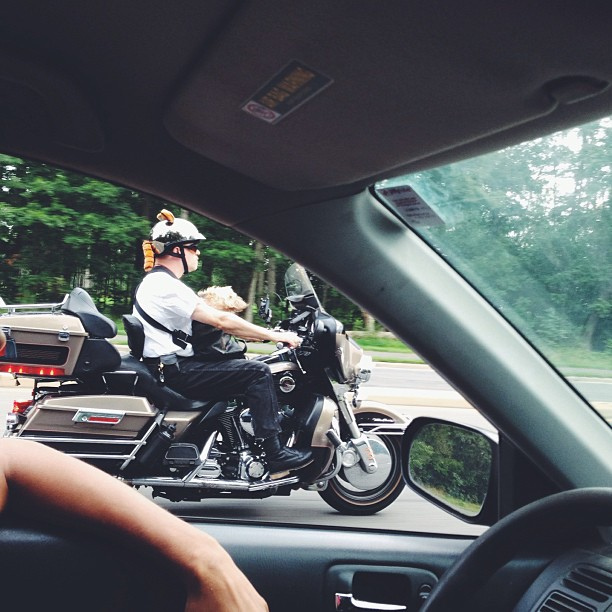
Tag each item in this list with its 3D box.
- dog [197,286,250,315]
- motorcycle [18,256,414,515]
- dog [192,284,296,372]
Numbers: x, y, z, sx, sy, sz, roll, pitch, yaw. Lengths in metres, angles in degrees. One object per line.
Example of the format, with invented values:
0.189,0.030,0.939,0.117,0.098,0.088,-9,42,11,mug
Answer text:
-0.504,-0.033,3.811,0.286,0.083,0.175,8,2,8,dog
-0.473,0.577,3.688,2.380,0.841,0.780,8,-11,-15,motorcycle
-0.487,0.119,3.590,0.816,0.311,0.399,3,1,-10,dog
